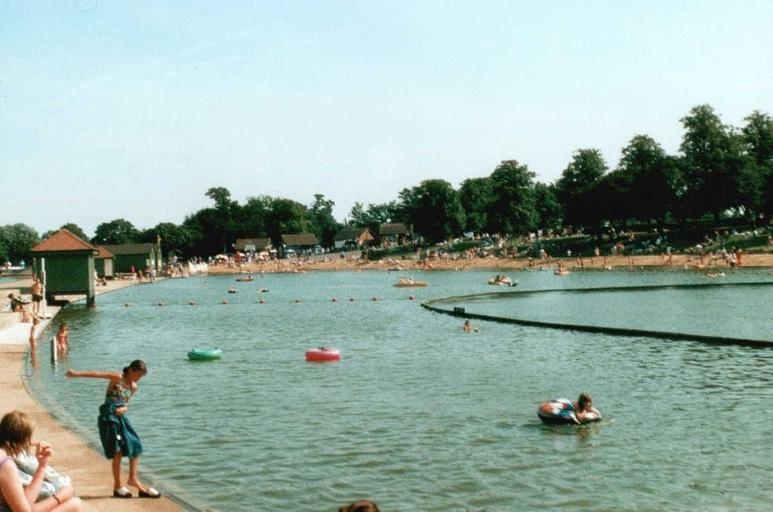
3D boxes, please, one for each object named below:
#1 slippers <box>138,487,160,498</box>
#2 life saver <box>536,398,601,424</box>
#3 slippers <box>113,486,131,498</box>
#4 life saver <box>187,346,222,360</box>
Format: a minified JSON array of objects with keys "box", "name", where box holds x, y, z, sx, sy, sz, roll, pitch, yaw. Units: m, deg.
[{"box":[-8.596,8.549,27.358,0.662,0.233,0.347,0,7,-2],"name":"slippers"},{"box":[7.990,7.044,33.678,1.776,0.603,1.273,0,0,-8],"name":"life saver"},{"box":[-9.542,8.506,27.258,0.613,0.339,0.458,-4,8,-21],"name":"slippers"},{"box":[-10.981,5.988,45.618,1.975,0.543,1.191,-2,7,-9],"name":"life saver"}]
